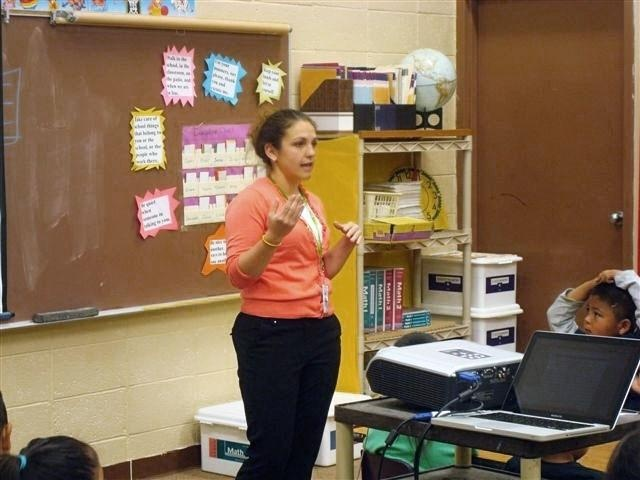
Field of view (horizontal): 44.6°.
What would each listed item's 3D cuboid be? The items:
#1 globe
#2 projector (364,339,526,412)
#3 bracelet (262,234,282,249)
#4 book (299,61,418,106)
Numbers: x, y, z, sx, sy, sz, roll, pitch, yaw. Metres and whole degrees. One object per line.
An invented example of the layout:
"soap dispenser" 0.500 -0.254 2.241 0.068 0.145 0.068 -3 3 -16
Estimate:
"globe" 0.635 -0.891 4.675 0.313 0.497 0.356 4 27 14
"projector" 0.450 0.451 2.673 0.460 0.167 0.446 0 2 -23
"bracelet" -0.172 0.002 2.696 0.058 0.051 0.052 -1 7 -5
"book" 0.208 -0.870 4.308 0.674 0.254 0.354 0 7 0
